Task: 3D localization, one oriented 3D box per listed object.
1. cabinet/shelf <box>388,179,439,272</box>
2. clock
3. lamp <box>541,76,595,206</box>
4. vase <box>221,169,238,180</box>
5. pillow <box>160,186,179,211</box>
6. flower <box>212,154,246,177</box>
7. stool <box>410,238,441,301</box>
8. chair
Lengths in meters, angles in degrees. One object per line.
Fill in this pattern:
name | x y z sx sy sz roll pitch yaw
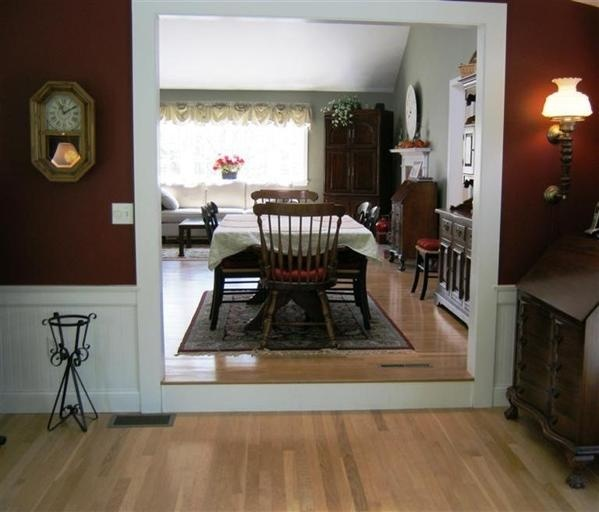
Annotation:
cabinet/shelf | 1.516 -0.431 6.902 0.471 1.173 0.658 -2 10 -8
clock | -1.248 -0.673 2.641 0.444 0.742 0.061 1 5 -3
lamp | 1.460 -0.635 2.782 0.240 0.688 0.360 6 13 30
vase | -1.329 -1.528 9.476 0.176 0.127 0.185 -7 14 -33
pillow | -2.303 -0.996 8.938 0.293 0.366 0.570 -3 12 -15
flower | -1.320 -1.720 9.516 0.427 0.331 0.435 11 16 43
stool | 1.202 0.128 5.155 0.384 0.455 0.416 -4 -11 26
chair | 0.056 0.020 3.891 0.786 1.017 1.408 1 12 -3
